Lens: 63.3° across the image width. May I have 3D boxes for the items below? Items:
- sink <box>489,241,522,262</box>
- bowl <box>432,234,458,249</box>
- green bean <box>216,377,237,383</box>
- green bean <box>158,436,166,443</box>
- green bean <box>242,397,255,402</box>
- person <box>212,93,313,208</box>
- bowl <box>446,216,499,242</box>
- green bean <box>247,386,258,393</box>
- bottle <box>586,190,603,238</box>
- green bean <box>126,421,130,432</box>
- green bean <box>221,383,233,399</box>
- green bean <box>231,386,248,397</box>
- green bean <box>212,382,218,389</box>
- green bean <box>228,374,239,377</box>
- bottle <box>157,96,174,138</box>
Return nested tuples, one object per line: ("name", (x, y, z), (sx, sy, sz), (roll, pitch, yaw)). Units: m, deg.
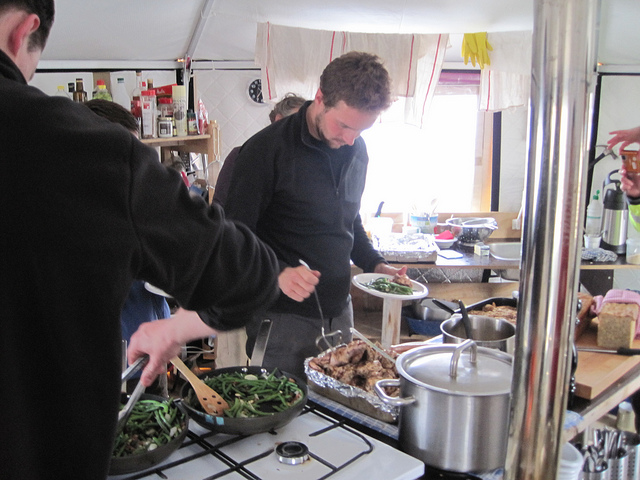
("sink", (1.699, 0.121, 4.681), (0.277, 0.121, 0.942), (3, 9, 18))
("bowl", (1.122, 0.030, 4.607), (0.176, 0.079, 0.107), (1, 9, 9))
("green bean", (-0.304, 0.442, 1.641), (0.062, 0.008, 0.018), (-3, 9, -17))
("green bean", (-0.424, 0.525, 1.363), (0.017, 0.007, 0.023), (5, 10, 33))
("green bean", (-0.216, 0.477, 1.549), (0.028, 0.007, 0.006), (6, 47, -37))
("person", (-0.352, -0.489, 2.739), (0.587, 0.377, 0.845), (4, 23, 14))
("bowl", (1.408, -0.108, 4.627), (0.271, 0.131, 0.364), (-9, 17, -24))
("green bean", (-0.213, 0.461, 1.597), (0.018, 0.008, 0.038), (8, 12, 44))
("bottle", (2.121, -0.199, 3.933), (0.108, 0.338, 0.299), (4, 10, 27))
("green bean", (-0.538, 0.513, 1.422), (0.006, 0.026, 0.007), (7, -28, -21))
("green bean", (-0.292, 0.464, 1.590), (0.007, 0.011, 0.050), (-4, 29, 34))
("green bean", (-0.249, 0.467, 1.581), (0.067, 0.013, 0.016), (28, 62, 33))
("green bean", (-0.336, 0.454, 1.617), (0.009, 0.009, 0.017), (5, 10, 33))
("green bean", (-0.285, 0.436, 1.661), (0.031, 0.003, 0.020), (-3, 9, -16))
("bottle", (-1.031, -0.795, 3.388), (0.111, 0.259, 0.109), (3, 5, 0))
